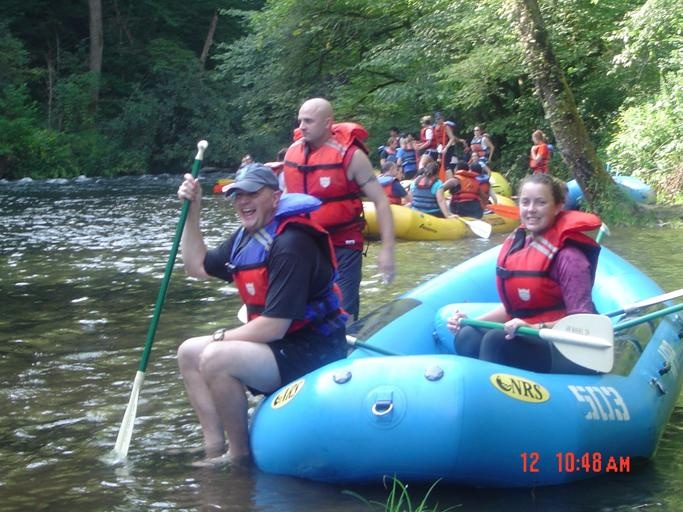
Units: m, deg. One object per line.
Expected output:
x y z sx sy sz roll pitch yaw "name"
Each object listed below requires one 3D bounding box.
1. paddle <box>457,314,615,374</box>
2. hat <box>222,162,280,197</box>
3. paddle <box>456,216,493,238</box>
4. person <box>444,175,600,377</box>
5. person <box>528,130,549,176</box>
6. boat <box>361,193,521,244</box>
0.987 0.405 3.412 0.674 0.251 0.080 3 -1 37 "paddle"
-0.422 -0.373 3.296 0.150 0.117 0.223 -5 -7 42 "hat"
1.601 -0.334 7.889 0.115 0.216 0.822 26 1 -15 "paddle"
0.933 0.093 3.648 0.804 0.998 0.785 0 1 25 "person"
3.688 -1.949 12.637 0.337 0.844 1.820 3 13 16 "person"
1.509 -0.436 9.505 1.955 0.456 0.936 -5 10 -39 "boat"
